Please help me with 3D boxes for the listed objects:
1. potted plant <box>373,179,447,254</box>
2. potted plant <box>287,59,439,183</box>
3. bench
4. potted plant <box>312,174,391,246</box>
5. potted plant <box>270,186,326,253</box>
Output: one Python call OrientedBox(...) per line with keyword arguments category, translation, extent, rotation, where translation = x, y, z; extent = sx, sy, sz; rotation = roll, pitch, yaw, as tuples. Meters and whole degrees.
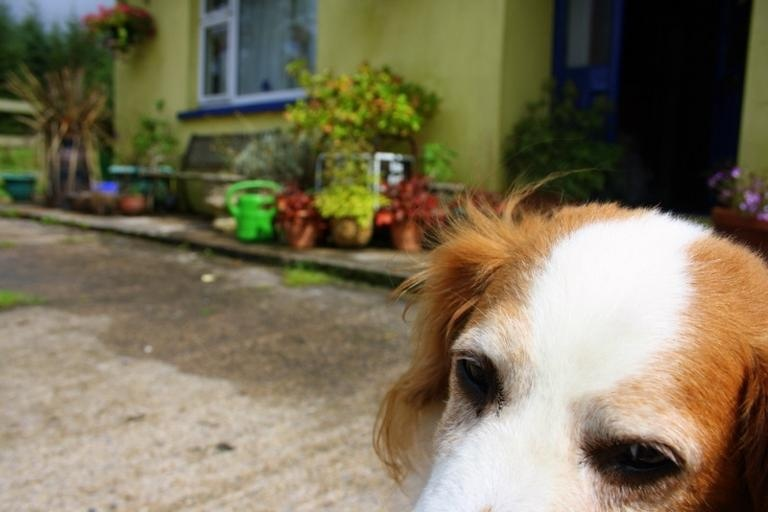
OrientedBox(category="potted plant", translation=(0.265, -0.473, 7.131), extent=(0.719, 0.866, 0.826), rotation=(3, -11, -11))
OrientedBox(category="potted plant", translation=(-0.321, -1.687, 7.837), extent=(1.463, 0.909, 1.166), rotation=(9, 19, 23))
OrientedBox(category="bench", translation=(-2.249, -1.046, 8.695), extent=(1.248, 1.119, 0.909), rotation=(8, 11, 32))
OrientedBox(category="potted plant", translation=(-0.406, -0.550, 7.722), extent=(0.702, 0.911, 0.855), rotation=(-7, 17, -1))
OrientedBox(category="potted plant", translation=(-0.936, -0.401, 7.750), extent=(0.489, 0.674, 0.345), rotation=(0, -16, 14))
